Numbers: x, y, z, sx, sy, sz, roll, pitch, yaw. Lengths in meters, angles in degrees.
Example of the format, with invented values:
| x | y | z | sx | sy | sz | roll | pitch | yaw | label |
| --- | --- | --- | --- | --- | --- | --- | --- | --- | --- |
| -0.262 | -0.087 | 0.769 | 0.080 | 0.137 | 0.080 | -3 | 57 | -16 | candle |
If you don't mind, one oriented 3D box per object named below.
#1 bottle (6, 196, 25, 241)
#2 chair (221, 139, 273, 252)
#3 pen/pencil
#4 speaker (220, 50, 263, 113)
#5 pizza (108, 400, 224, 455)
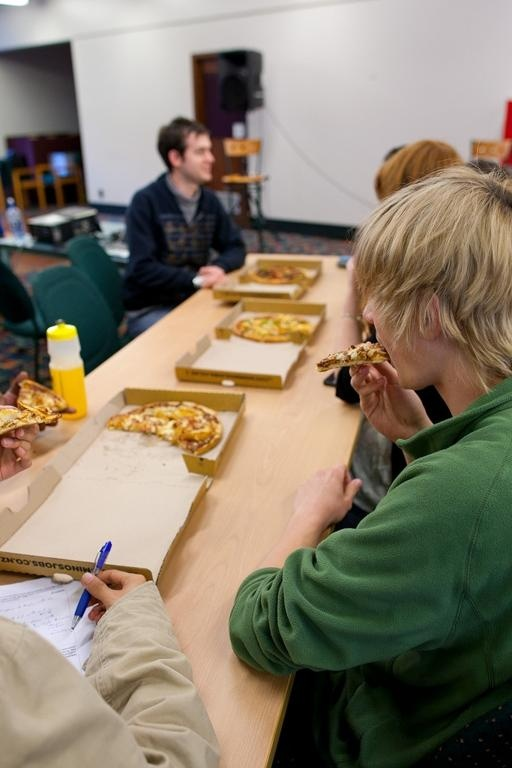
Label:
| x | y | z | sx | sy | sz | roll | pitch | yaw | label |
| --- | --- | --- | --- | --- | --- | --- | --- | --- | --- |
| -2.035 | -1.405 | 5.121 | 0.136 | 0.303 | 1.086 | -13 | 23 | -18 | bottle |
| -0.104 | -1.451 | 4.473 | 0.328 | 0.754 | 0.246 | -9 | 45 | -11 | chair |
| -0.256 | 0.314 | 0.942 | 0.024 | 0.018 | 0.155 | 27 | 62 | -10 | pen/pencil |
| -0.128 | -2.405 | 4.828 | 0.306 | 0.474 | 0.605 | -1 | 22 | 9 | speaker |
| -0.203 | 0.102 | 1.432 | 0.185 | 0.037 | 0.132 | 3 | 28 | -3 | pizza |
